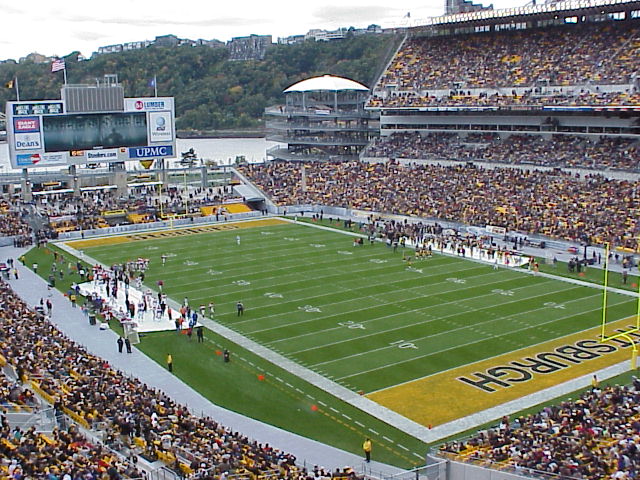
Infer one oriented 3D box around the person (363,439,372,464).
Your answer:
[{"bbox_3d":[1.677,7.416,28.964,0.318,0.736,0.939,-2,11,4],"label":"person"}]
